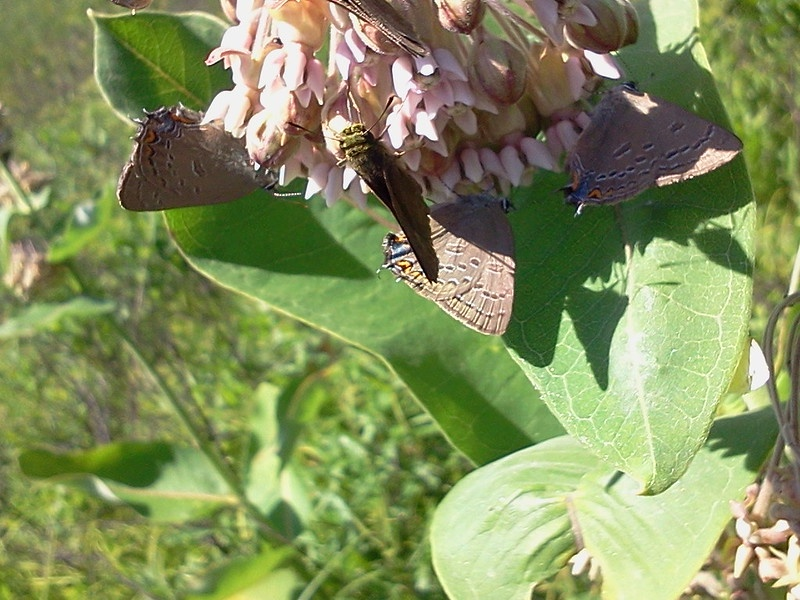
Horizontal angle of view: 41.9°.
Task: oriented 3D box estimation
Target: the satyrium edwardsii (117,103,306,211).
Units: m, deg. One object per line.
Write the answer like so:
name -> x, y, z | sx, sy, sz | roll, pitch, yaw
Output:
satyrium edwardsii -> -0.521, -0.324, 2.530 | 0.293, 0.128, 0.294 | -4, -2, -22

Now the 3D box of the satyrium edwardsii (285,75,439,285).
satyrium edwardsii -> -0.041, -0.298, 2.473 | 0.403, 0.216, 0.382 | -21, 24, -39

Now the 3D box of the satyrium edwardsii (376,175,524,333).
satyrium edwardsii -> 0.147, -0.071, 2.548 | 0.169, 0.312, 0.315 | -32, -1, 4

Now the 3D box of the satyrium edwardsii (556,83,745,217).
satyrium edwardsii -> 0.574, -0.366, 2.365 | 0.367, 0.236, 0.194 | -26, 15, -15
